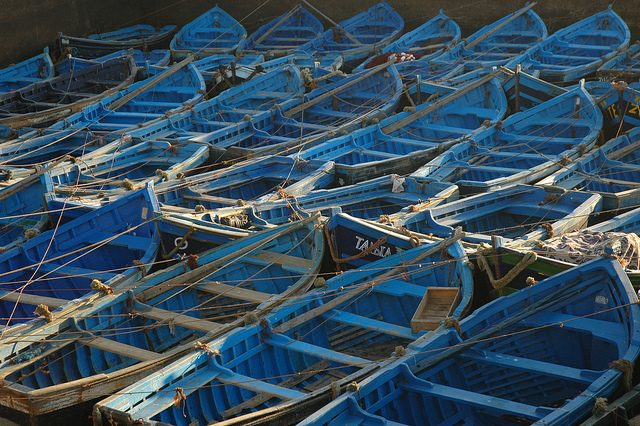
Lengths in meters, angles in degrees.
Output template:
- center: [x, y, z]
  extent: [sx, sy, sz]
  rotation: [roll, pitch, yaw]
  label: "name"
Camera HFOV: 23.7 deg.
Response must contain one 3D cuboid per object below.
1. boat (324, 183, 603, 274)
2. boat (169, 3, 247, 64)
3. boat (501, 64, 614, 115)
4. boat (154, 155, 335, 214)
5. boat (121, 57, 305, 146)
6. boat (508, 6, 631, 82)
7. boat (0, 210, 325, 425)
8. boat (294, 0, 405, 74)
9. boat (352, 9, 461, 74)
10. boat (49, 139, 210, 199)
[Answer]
- center: [4.239, 0.742, 45.847]
  extent: [7.228, 1.875, 3.934]
  rotation: [-14, 21, -32]
  label: "boat"
- center: [-4.726, -7.394, 62.584]
  extent: [2.633, 1.156, 3.201]
  rotation: [-1, 38, 3]
  label: "boat"
- center: [8.001, -4.288, 52.257]
  extent: [3.231, 1.075, 1.634]
  rotation: [-12, 44, 1]
  label: "boat"
- center: [-2.598, -0.436, 48.855]
  extent: [4.503, 0.898, 2.386]
  rotation: [-14, 22, -27]
  label: "boat"
- center: [-3.730, -3.852, 53.797]
  extent: [6.300, 1.315, 1.496]
  rotation: [-22, 50, -20]
  label: "boat"
- center: [9.627, -5.898, 57.649]
  extent: [2.190, 1.387, 6.400]
  rotation: [24, 40, 34]
  label: "boat"
- center: [-4.490, 3.221, 44.463]
  extent: [7.420, 2.195, 2.298]
  rotation: [-24, 50, -18]
  label: "boat"
- center: [1.312, -7.346, 62.012]
  extent: [6.063, 1.070, 2.147]
  rotation: [-24, 46, -19]
  label: "boat"
- center: [3.482, -7.503, 63.054]
  extent: [1.842, 1.276, 5.639]
  rotation: [-26, 14, -30]
  label: "boat"
- center: [-6.428, -1.489, 49.849]
  extent: [4.117, 0.932, 2.239]
  rotation: [-19, 34, -28]
  label: "boat"
